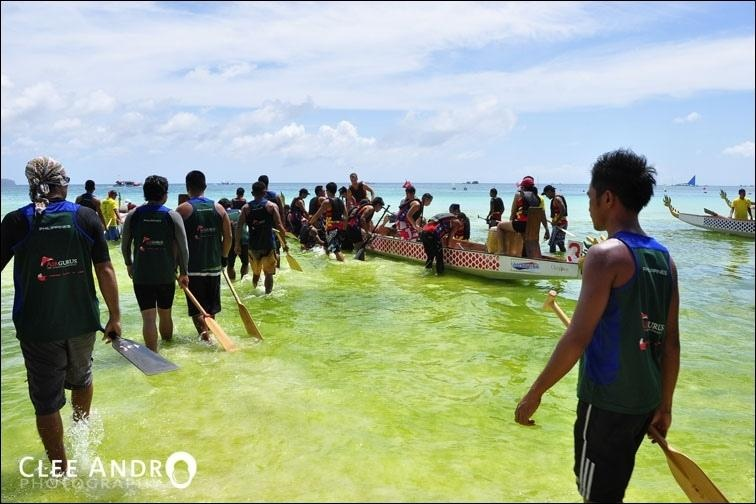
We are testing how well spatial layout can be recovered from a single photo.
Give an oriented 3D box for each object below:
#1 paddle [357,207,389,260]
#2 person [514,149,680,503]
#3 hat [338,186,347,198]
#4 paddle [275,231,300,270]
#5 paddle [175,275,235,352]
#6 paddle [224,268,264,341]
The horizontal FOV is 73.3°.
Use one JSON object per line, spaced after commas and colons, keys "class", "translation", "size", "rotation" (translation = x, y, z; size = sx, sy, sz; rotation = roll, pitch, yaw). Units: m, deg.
{"class": "paddle", "translation": [-0.215, -0.592, 17.443], "size": [0.897, 0.627, 1.902], "rotation": [-4, -25, -26]}
{"class": "person", "translation": [1.837, 0.605, 4.076], "size": [1.221, 2.804, 0.760], "rotation": [-7, 14, -35]}
{"class": "hat", "translation": [-1.318, -2.212, 18.717], "size": [0.395, 0.455, 0.476], "rotation": [5, 13, -7]}
{"class": "paddle", "translation": [-2.669, -0.016, 14.909], "size": [0.242, 1.772, 0.186], "rotation": [-18, 37, 19]}
{"class": "paddle", "translation": [-2.813, 0.998, 8.437], "size": [0.810, 1.159, 0.793], "rotation": [-2, 12, -15]}
{"class": "paddle", "translation": [-2.533, 0.846, 9.020], "size": [0.079, 1.568, 0.277], "rotation": [-38, -20, 19]}
